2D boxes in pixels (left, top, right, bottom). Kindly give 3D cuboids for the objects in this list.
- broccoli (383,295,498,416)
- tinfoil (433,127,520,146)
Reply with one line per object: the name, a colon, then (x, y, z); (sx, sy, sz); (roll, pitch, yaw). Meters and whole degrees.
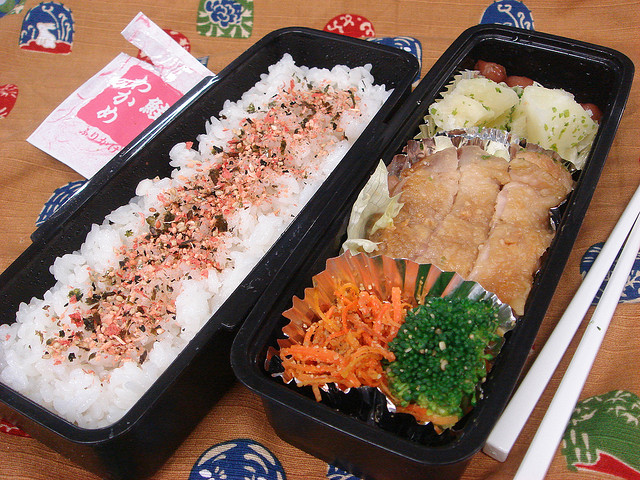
broccoli: (0.411, 0.383, 1.958); (0.343, 0.156, 0.440); (25, 83, 4)
tinfoil: (0.756, -0.507, 2.699); (0.373, 0.334, 0.084); (2, 107, 27)
